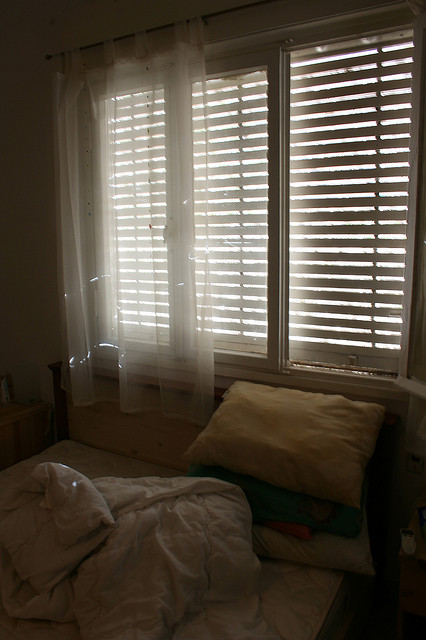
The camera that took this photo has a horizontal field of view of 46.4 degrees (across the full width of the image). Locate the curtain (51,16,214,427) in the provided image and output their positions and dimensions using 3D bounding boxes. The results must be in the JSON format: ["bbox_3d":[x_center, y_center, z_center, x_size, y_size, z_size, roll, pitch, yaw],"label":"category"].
[{"bbox_3d":[-0.352,-0.355,2.050,0.811,1.520,0.129,3,9,28],"label":"curtain"}]
